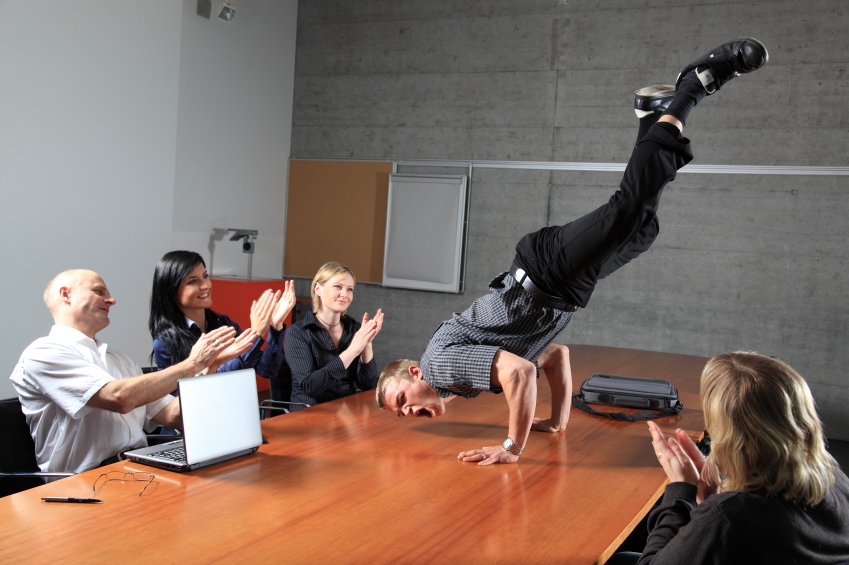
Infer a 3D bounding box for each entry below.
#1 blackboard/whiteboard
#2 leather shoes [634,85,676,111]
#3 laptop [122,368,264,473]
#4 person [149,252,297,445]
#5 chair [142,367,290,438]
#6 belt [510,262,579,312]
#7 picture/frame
[{"bbox_3d":[0.057,-0.615,7.566,1.430,1.826,0.305,5,3,20],"label":"blackboard/whiteboard"},{"bbox_3d":[1.065,-0.846,2.831,0.192,0.067,0.127,-15,26,-28],"label":"leather shoes"},{"bbox_3d":[-0.969,0.566,2.635,0.439,0.345,0.496,3,-1,14],"label":"laptop"},{"bbox_3d":[-1.281,0.355,3.855,0.933,0.946,0.780,-2,15,-3],"label":"person"},{"bbox_3d":[-0.970,0.545,2.806,0.458,0.270,0.446,-5,-8,30],"label":"chair"},{"bbox_3d":[0.510,0.037,2.705,0.240,0.058,0.216,32,3,22],"label":"belt"},{"bbox_3d":[0.022,-0.630,7.670,1.093,1.417,0.241,9,10,31],"label":"picture/frame"}]
